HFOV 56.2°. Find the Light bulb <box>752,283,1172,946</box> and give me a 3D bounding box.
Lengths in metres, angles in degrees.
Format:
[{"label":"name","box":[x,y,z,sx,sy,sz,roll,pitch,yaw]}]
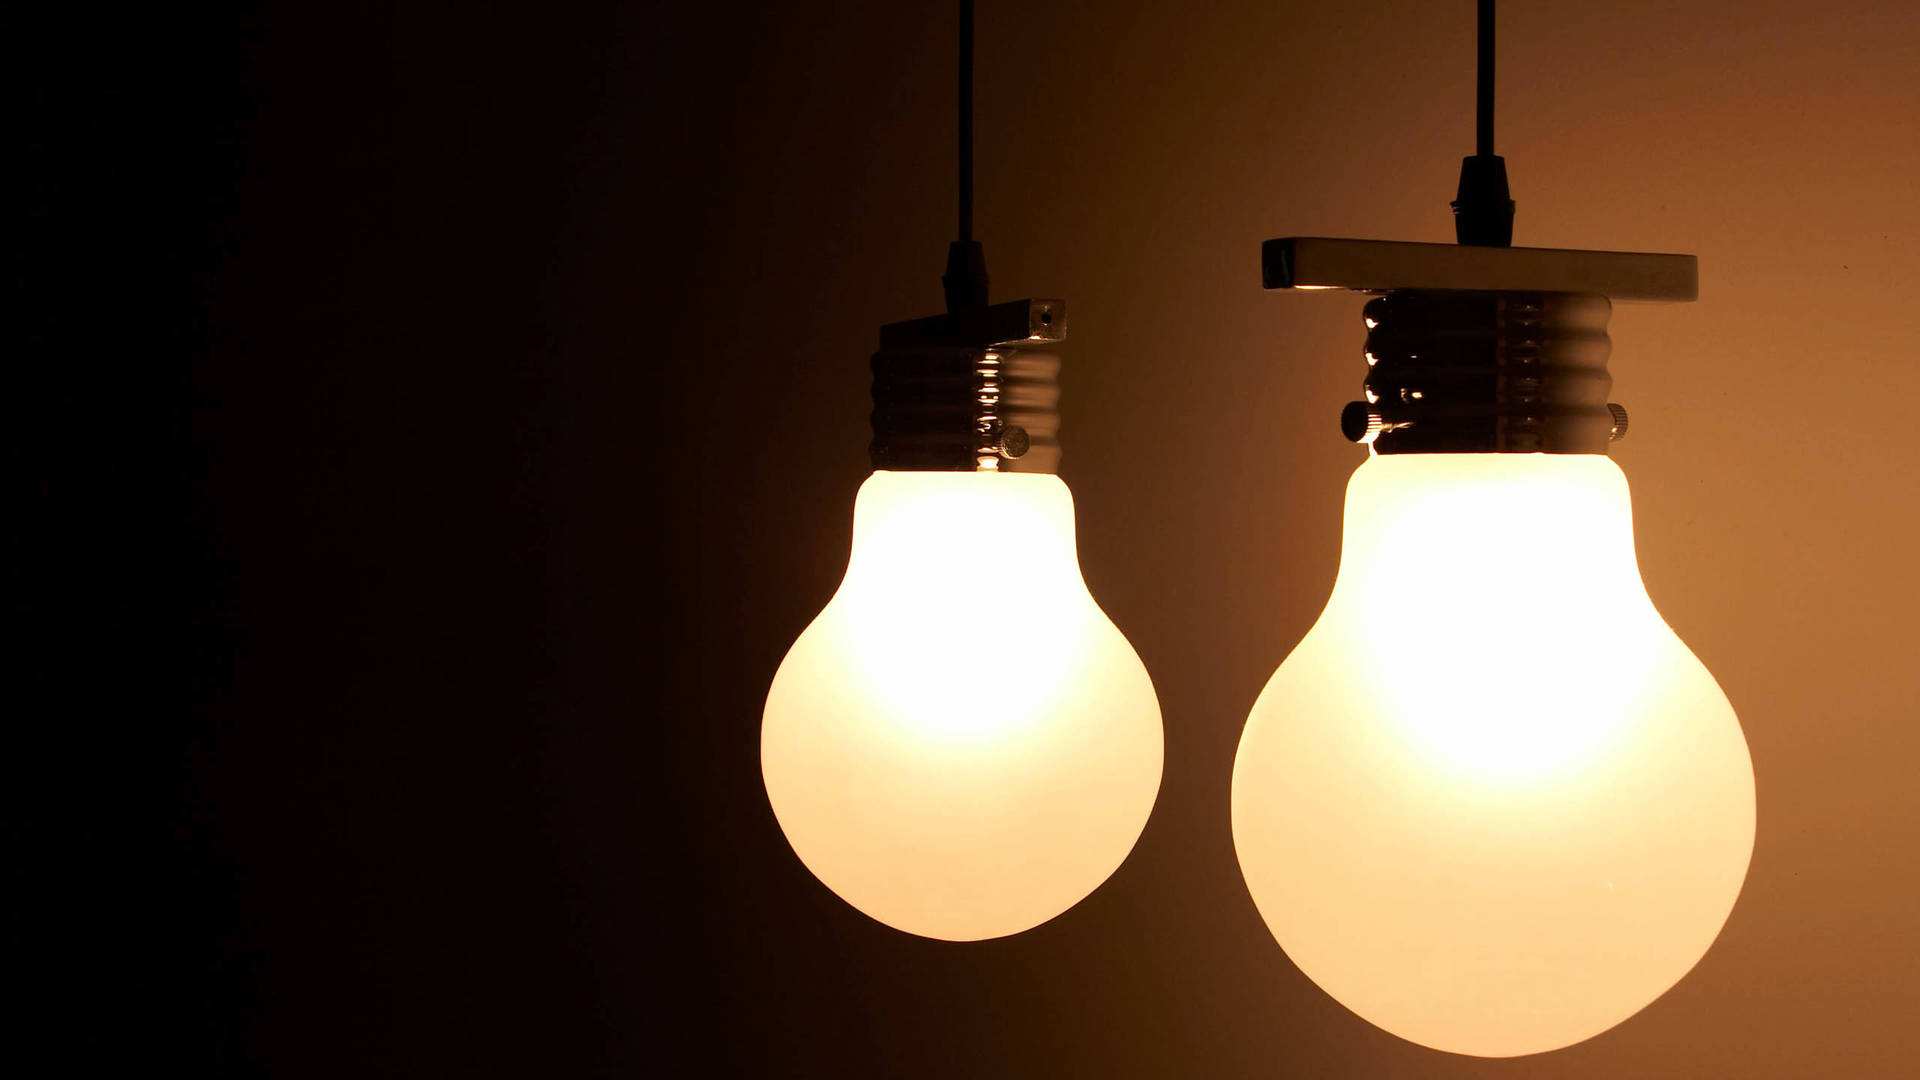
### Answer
[{"label":"Light bulb","box":[0.004,0.072,1.655,0.381,0.583,0.380,4,8,16]}]
